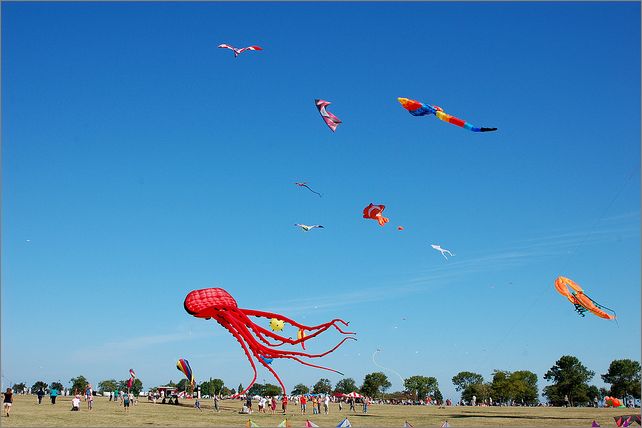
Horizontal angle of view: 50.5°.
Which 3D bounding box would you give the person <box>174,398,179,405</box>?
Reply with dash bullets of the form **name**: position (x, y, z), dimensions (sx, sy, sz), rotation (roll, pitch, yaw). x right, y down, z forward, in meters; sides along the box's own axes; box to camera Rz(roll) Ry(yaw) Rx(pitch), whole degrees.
- **person**: position (-26.702, 34.465, 124.959), dimensions (0.321, 1.185, 1.344), rotation (8, -23, -20)
